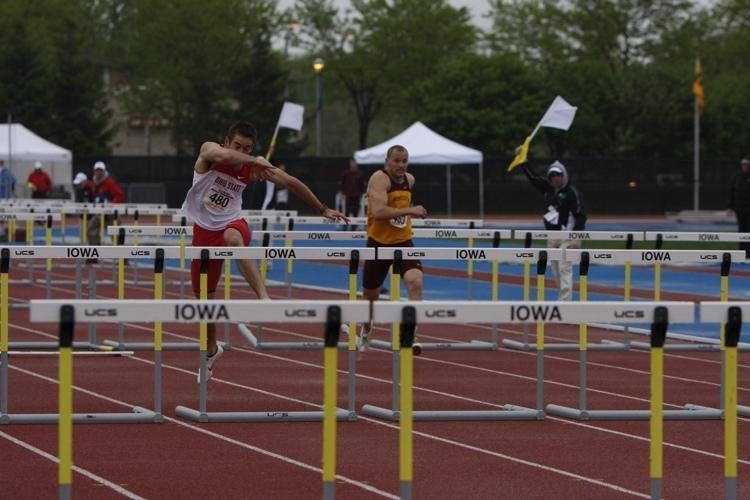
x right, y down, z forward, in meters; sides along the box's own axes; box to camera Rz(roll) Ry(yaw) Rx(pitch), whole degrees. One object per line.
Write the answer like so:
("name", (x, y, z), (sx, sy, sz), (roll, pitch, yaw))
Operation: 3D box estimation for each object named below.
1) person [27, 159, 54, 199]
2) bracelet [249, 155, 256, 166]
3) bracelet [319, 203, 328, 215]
("person", (-10.225, -2.136, 38.793), (0.679, 1.131, 0.881), (2, 1, -13))
("bracelet", (-2.096, -1.510, 21.606), (0.104, 0.142, 0.125), (0, 3, -31))
("bracelet", (-0.874, -0.701, 22.132), (0.128, 0.191, 0.175), (2, -22, -40))
